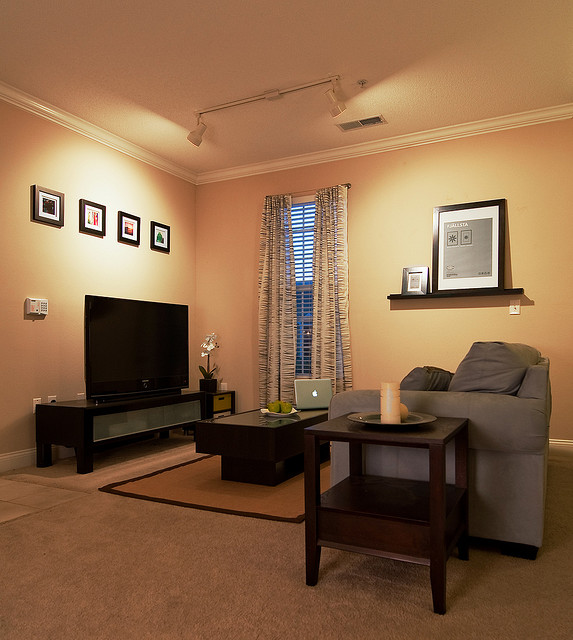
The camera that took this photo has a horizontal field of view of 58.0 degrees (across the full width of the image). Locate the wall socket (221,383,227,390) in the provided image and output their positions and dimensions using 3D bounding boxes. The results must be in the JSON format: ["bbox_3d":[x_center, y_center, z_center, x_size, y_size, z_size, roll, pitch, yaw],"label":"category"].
[{"bbox_3d":[-0.674,0.709,5.563,0.075,0.076,0.054,0,-1,22],"label":"wall socket"}]

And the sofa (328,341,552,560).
[{"bbox_3d":[0.681,0.475,2.207,0.774,0.805,1.140,-1,-4,26],"label":"sofa"}]

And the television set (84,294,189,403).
[{"bbox_3d":[-1.286,0.248,4.487,0.126,0.830,1.182,-4,-4,29],"label":"television set"}]

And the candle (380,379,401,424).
[{"bbox_3d":[0.379,0.294,1.882,0.069,0.138,0.194,-1,-3,12],"label":"candle"}]

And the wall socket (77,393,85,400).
[{"bbox_3d":[-1.687,0.618,4.235,0.050,0.047,0.036,-1,2,-20],"label":"wall socket"}]

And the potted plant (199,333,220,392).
[{"bbox_3d":[-0.813,0.435,5.485,0.209,0.609,0.597,0,-2,-9],"label":"potted plant"}]

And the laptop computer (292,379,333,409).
[{"bbox_3d":[0.202,0.539,3.824,0.280,0.200,0.204,2,-4,-16],"label":"laptop computer"}]

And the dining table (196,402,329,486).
[{"bbox_3d":[-0.158,0.788,3.347,0.589,0.464,0.725,-2,-3,30],"label":"dining table"}]
